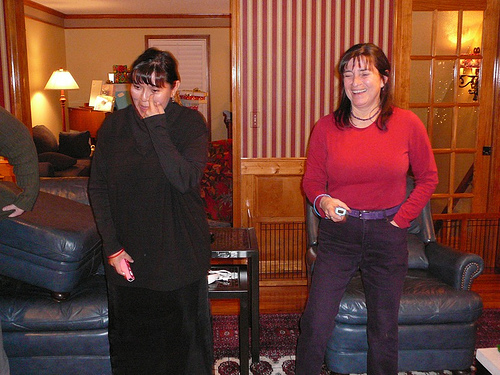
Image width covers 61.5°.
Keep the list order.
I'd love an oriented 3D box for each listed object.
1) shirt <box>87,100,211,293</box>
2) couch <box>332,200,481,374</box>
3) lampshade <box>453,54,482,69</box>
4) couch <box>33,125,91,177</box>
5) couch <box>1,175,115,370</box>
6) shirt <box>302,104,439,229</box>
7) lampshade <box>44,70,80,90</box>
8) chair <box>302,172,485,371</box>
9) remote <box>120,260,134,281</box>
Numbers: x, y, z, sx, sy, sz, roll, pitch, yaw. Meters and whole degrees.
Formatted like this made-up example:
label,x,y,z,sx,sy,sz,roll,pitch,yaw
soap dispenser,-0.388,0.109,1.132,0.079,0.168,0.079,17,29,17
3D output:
label,x,y,z,sx,sy,sz,roll,pitch,yaw
shirt,-0.477,0.039,1.984,0.572,0.893,0.281,-1,10,-7
couch,1.055,0.587,2.908,0.924,1.180,1.185,0,0,2
lampshade,2.098,-1.199,4.036,0.145,0.151,0.035,1,6,8
couch,-2.444,-0.476,5.520,0.534,0.570,0.799,-4,27,-10
couch,-1.049,0.458,2.903,0.966,0.956,1.069,0,7,-6
shirt,0.621,-0.134,2.238,0.691,0.618,0.367,3,6,21
lampshade,-3.382,-1.938,7.542,0.442,0.320,0.485,9,14,40
chair,0.932,0.538,3.049,1.129,1.368,1.223,-1,10,-1
remote,-0.569,0.381,1.954,0.049,0.094,0.022,-20,4,14
